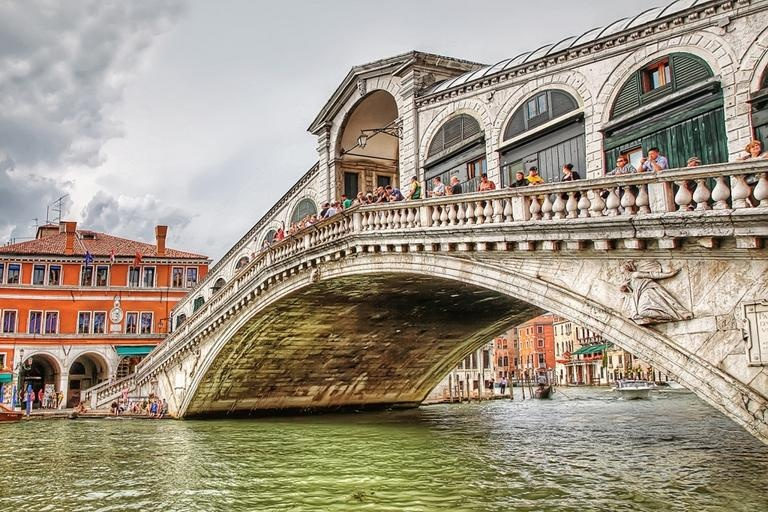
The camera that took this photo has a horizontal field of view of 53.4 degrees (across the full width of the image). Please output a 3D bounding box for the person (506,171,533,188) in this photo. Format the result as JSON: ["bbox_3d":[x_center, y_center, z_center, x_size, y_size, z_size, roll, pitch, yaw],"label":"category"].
[{"bbox_3d":[4.786,-2.680,26.659,0.611,0.598,1.094,0,-8,-33],"label":"person"}]

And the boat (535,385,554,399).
[{"bbox_3d":[13.970,12.030,66.163,0.744,0.806,2.643,2,-22,-5],"label":"boat"}]

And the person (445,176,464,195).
[{"bbox_3d":[2.457,-2.466,27.033,0.509,0.736,0.840,1,-10,26],"label":"person"}]

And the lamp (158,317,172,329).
[{"bbox_3d":[-16.879,5.299,58.714,0.915,1.141,0.376,4,-10,9],"label":"lamp"}]

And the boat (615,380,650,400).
[{"bbox_3d":[20.782,11.100,63.252,2.570,1.526,1.400,0,-11,31],"label":"boat"}]
